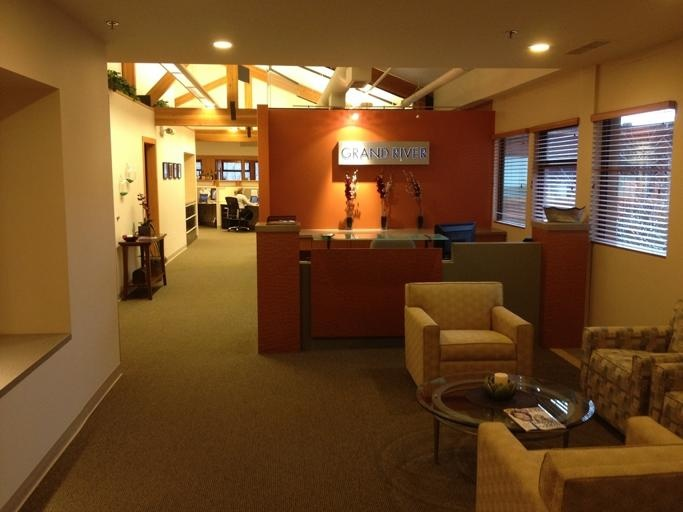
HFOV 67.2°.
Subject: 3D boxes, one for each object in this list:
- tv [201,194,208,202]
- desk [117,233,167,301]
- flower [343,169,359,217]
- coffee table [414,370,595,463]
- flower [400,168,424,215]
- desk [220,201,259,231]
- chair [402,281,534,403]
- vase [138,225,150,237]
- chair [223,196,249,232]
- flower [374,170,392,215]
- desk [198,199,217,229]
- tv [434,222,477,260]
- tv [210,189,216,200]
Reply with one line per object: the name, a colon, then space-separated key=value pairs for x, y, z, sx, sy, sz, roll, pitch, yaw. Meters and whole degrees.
tv: x=-4.934 y=-2.056 z=18.382 sx=0.252 sy=0.239 sz=0.026 roll=0 pitch=0 yaw=0
desk: x=-3.391 y=0.197 z=8.609 sx=0.330 sy=0.620 sz=1.047 roll=-1 pitch=4 yaw=-5
flower: x=0.175 y=-1.106 z=9.284 sx=0.269 sy=0.876 sz=0.156 roll=-1 pitch=10 yaw=-2
coffee table: x=1.127 y=1.047 z=3.642 sx=0.864 sy=0.348 sz=0.889 roll=1 pitch=5 yaw=12
flower: x=1.319 y=-1.179 z=9.388 sx=0.246 sy=0.854 sz=0.133 roll=-3 pitch=8 yaw=38
desk: x=-3.434 y=-1.335 z=17.203 sx=1.046 sy=1.019 sz=0.765 roll=5 pitch=8 yaw=34
chair: x=1.203 y=0.773 z=5.070 sx=1.069 sy=0.930 sz=1.012 roll=0 pitch=2 yaw=-8
vase: x=-3.356 y=-0.433 z=8.702 sx=0.188 sy=0.187 sz=0.185 roll=2 pitch=9 yaw=1
chair: x=-3.448 y=-1.355 z=17.108 sx=0.809 sy=1.099 sz=0.757 roll=3 pitch=8 yaw=25
flower: x=0.765 y=-1.092 z=9.322 sx=0.298 sy=0.749 sz=0.201 roll=-1 pitch=10 yaw=-5
desk: x=-4.853 y=-1.535 z=18.533 sx=1.115 sy=1.079 sz=0.369 roll=0 pitch=1 yaw=36
tv: x=1.449 y=-0.172 z=6.590 sx=0.430 sy=0.417 sz=0.227 roll=-3 pitch=9 yaw=-18
tv: x=-4.625 y=-2.176 z=18.318 sx=0.117 sy=0.438 sz=0.313 roll=-10 pitch=14 yaw=-44
